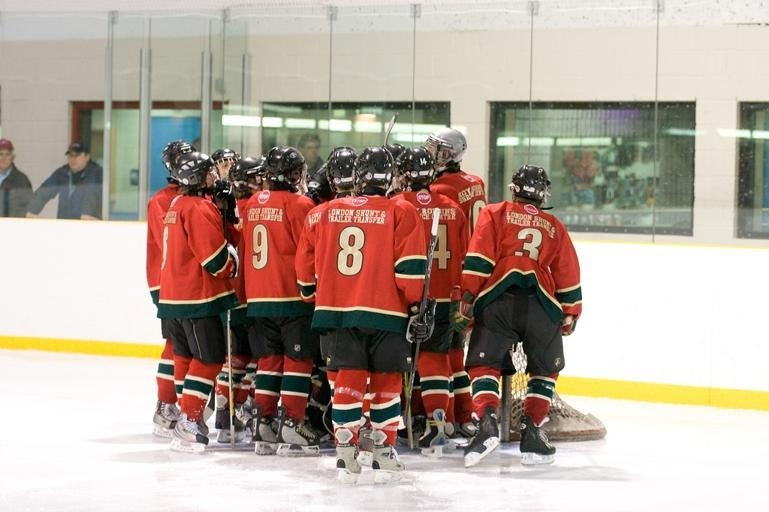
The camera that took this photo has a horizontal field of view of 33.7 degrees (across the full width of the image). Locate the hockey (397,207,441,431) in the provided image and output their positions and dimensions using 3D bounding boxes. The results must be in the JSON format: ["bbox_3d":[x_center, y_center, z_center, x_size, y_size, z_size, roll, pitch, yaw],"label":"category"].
[{"bbox_3d":[0.351,0.537,10.888,0.449,1.799,0.417,1,-1,-36],"label":"hockey"}]

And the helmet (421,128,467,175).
[{"bbox_3d":[0.614,-0.999,11.923,0.403,0.424,0.329,5,13,-16],"label":"helmet"}]

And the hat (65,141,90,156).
[{"bbox_3d":[-3.495,-1.220,14.466,0.278,0.140,0.061,5,14,18],"label":"hat"}]
